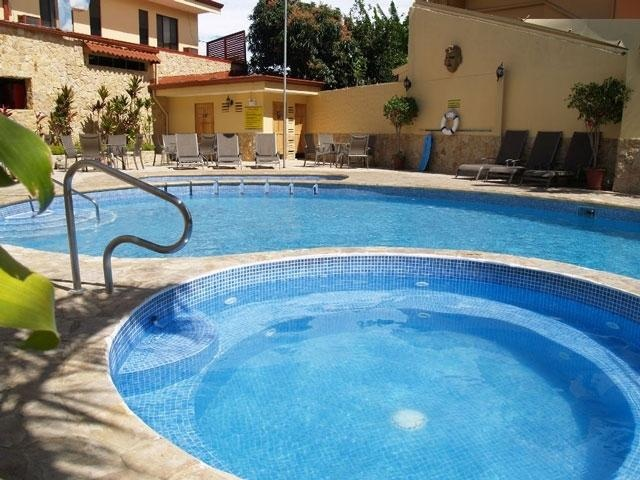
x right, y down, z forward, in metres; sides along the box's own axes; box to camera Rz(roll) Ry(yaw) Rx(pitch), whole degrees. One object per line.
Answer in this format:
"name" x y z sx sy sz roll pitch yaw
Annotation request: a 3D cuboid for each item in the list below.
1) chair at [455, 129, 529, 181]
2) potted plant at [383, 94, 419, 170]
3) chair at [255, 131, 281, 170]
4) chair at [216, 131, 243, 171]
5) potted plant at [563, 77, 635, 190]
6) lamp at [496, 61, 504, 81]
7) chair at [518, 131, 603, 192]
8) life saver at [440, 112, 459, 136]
"chair" 4.994 -2.411 12.372 1.862 1.267 1.070 -8 15 -27
"potted plant" 2.876 -3.842 15.517 1.086 2.627 1.016 10 15 33
"chair" -1.837 -3.228 15.113 0.773 0.974 1.414 -1 28 -3
"chair" -3.135 -3.046 14.945 0.879 0.940 1.488 -2 34 -7
"potted plant" 6.670 -2.581 10.501 1.182 2.565 1.306 10 15 33
"lamp" 5.382 -4.962 12.887 0.172 0.553 0.244 11 8 18
"chair" 6.041 -1.901 10.981 1.546 1.127 0.958 -1 11 -21
"life saver" 4.282 -3.841 14.323 0.644 0.819 0.212 9 15 31
